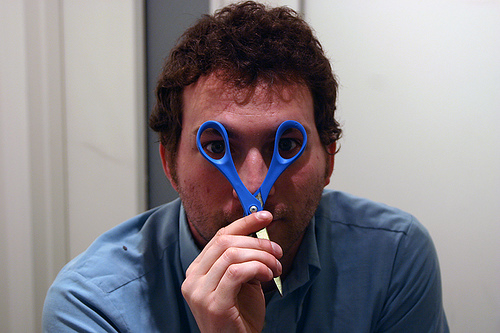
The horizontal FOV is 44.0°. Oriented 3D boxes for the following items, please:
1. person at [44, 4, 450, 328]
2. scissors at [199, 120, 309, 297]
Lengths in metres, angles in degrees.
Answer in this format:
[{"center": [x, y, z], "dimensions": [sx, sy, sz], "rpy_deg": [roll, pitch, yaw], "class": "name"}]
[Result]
[{"center": [0.002, 0.009, 2.324], "dimensions": [1.462, 1.250, 0.602], "rpy_deg": [-1, 8, -16], "class": "person"}, {"center": [0.006, 0.161, 2.271], "dimensions": [0.365, 0.653, 0.330], "rpy_deg": [5, 9, 23], "class": "scissors"}]
